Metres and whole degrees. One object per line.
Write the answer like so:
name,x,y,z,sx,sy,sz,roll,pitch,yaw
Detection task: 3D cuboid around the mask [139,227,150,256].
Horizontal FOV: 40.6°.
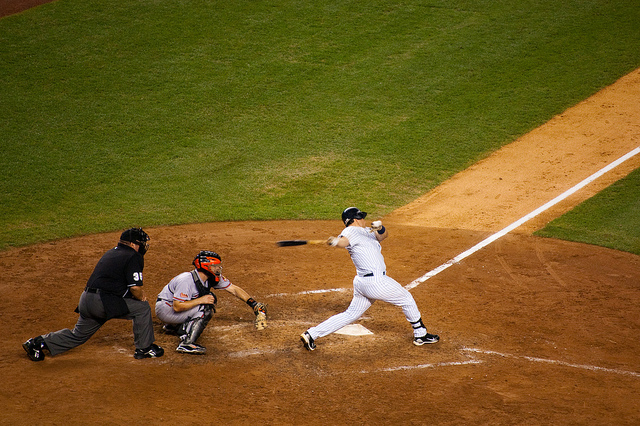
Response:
mask,-3.769,0.607,18.308,0.257,0.570,0.323,13,19,-12
